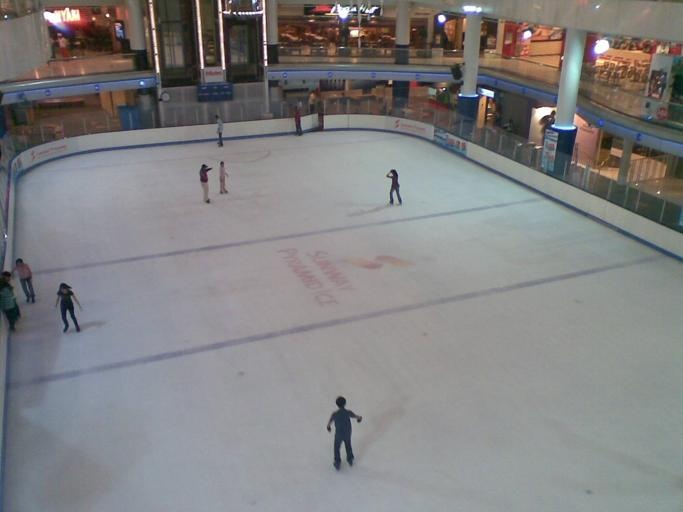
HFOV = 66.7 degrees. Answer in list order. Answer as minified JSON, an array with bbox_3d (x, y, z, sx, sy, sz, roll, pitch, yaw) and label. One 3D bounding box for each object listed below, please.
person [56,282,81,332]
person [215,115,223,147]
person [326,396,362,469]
[{"bbox_3d":[-6.579,1.228,12.514,0.560,1.349,0.272,-3,27,-19],"label":"person"},{"bbox_3d":[-6.307,-6.581,26.945,0.407,1.535,1.519,-7,27,-12],"label":"person"},{"bbox_3d":[0.057,3.020,9.353,0.565,1.642,0.767,-1,26,-1],"label":"person"}]
